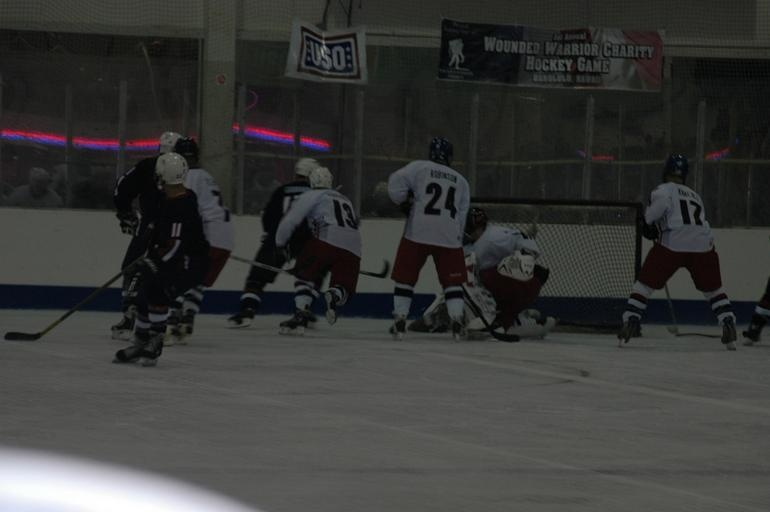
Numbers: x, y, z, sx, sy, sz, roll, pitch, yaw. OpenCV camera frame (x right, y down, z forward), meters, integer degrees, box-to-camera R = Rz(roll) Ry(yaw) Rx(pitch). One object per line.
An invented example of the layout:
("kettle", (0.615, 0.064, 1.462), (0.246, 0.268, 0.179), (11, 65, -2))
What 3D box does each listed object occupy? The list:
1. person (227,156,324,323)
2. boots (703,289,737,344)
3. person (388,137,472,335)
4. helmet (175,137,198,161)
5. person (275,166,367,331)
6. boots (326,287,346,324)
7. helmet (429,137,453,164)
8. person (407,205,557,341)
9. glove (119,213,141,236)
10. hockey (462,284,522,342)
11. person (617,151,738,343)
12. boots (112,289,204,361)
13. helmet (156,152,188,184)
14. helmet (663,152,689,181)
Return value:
("person", (-0.849, -0.039, 8.211), (0.698, 1.768, 0.574), (7, -28, 5))
("boots", (2.776, 0.499, 7.564), (0.276, 0.482, 0.576), (5, 11, 15))
("person", (0.349, -0.054, 7.503), (0.666, 1.394, 0.498), (2, 10, -2))
("helmet", (-1.562, -0.846, 7.272), (0.158, 0.185, 0.179), (0, -1, -7))
("person", (-0.558, -0.038, 7.700), (0.663, 1.352, 0.707), (5, 11, 12))
("boots", (-0.420, 0.422, 7.846), (0.128, 0.356, 0.264), (-5, -15, 21))
("helmet", (0.483, -0.908, 7.793), (0.203, 0.244, 0.240), (6, 0, 4))
("person", (0.763, 0.054, 8.026), (0.816, 1.076, 1.046), (9, 9, 26))
("glove", (-2.062, -0.247, 7.324), (0.144, 0.170, 0.181), (-8, -18, 8))
("hockey", (0.844, 0.527, 7.625), (0.141, 0.456, 0.460), (-26, 0, 12))
("person", (2.448, 0.058, 7.495), (0.891, 1.242, 0.646), (5, 11, 15))
("boots", (-1.600, 0.479, 6.080), (0.339, 0.482, 0.182), (0, 11, -16))
("helmet", (-1.484, -0.616, 6.395), (0.186, 0.227, 0.233), (-6, 21, -30))
("helmet", (2.563, -0.778, 7.929), (0.219, 0.277, 0.283), (7, 7, 6))
